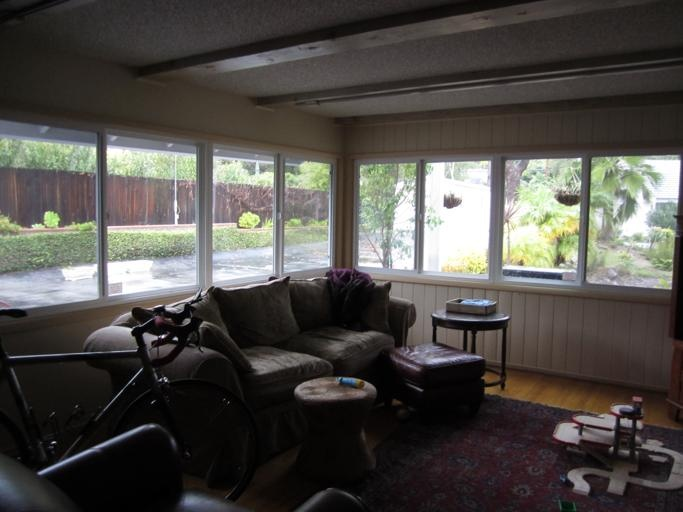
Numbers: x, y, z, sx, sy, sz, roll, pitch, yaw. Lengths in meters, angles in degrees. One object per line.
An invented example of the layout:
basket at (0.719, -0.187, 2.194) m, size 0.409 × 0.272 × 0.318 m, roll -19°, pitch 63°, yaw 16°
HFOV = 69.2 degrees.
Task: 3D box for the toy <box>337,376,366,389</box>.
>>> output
toy at (0.060, 0.847, 3.355) m, size 0.223 × 0.045 × 0.099 m, roll 6°, pitch 8°, yaw 31°

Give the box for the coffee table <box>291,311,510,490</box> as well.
coffee table at (0.642, 0.999, 4.014) m, size 0.686 × 0.689 × 2.361 m, roll 1°, pitch 4°, yaw 34°
